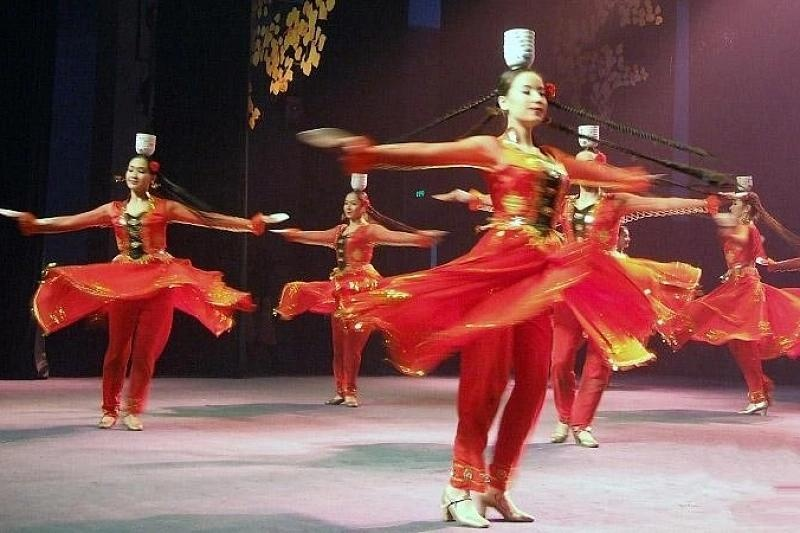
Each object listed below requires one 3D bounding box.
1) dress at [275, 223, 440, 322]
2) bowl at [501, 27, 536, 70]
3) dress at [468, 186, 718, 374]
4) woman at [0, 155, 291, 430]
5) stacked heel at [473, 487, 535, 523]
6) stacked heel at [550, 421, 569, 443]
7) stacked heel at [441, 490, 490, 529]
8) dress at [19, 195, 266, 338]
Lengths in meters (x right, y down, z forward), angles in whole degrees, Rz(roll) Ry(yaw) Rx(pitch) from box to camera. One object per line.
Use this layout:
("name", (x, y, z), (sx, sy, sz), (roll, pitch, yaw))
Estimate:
("dress", (-0.461, 0.025, 6.970), (1.251, 0.581, 0.585), (-8, -20, 44))
("bowl", (0.602, -1.104, 4.356), (0.153, 0.226, 0.183), (5, 7, 3))
("dress", (0.893, -0.051, 4.642), (1.334, 1.056, 0.944), (9, 3, 39))
("woman", (-1.857, 0.100, 6.130), (2.252, 1.569, 0.702), (-1, 0, 4))
("stacked heel", (0.497, 1.163, 4.188), (0.348, 0.148, 0.088), (18, -33, -13))
("stacked heel", (1.093, 1.114, 5.747), (0.107, 0.132, 0.161), (11, -2, 23))
("stacked heel", (0.313, 1.139, 4.109), (0.201, 0.178, 0.159), (2, 7, -15))
("dress", (-1.859, 0.009, 6.462), (2.074, 1.062, 1.073), (0, -25, -6))
